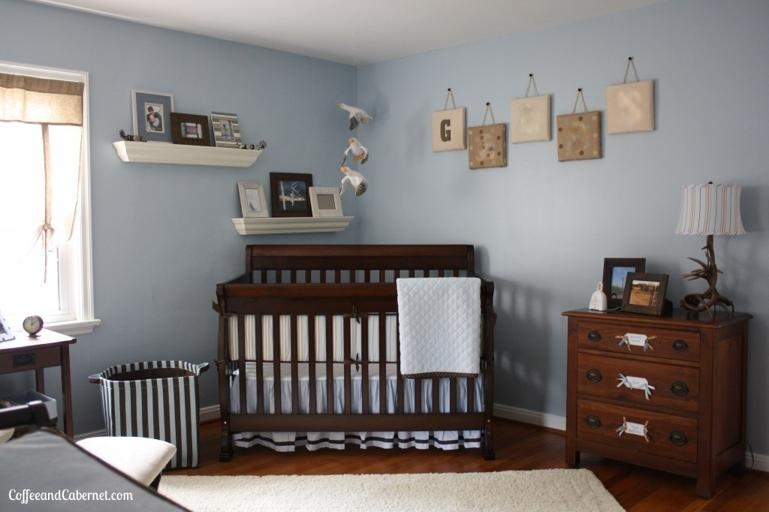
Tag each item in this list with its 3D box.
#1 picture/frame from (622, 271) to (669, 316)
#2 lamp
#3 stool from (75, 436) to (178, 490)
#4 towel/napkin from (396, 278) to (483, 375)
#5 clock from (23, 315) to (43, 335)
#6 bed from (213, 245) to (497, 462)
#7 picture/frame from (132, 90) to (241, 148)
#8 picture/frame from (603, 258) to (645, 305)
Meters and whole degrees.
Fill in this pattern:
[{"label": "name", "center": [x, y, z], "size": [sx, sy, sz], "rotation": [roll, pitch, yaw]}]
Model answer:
[{"label": "picture/frame", "center": [1.593, 0.239, 3.715], "size": [0.241, 0.280, 0.039], "rotation": [3, -12, 39]}, {"label": "lamp", "center": [1.971, -0.049, 3.691], "size": [0.347, 0.805, 0.439], "rotation": [2, 8, 30]}, {"label": "stool", "center": [-1.237, 0.992, 2.927], "size": [0.408, 0.248, 0.288], "rotation": [2, 7, 24]}, {"label": "towel/napkin", "center": [0.342, 0.431, 3.805], "size": [0.610, 0.653, 0.067], "rotation": [-1, 2, -3]}, {"label": "clock", "center": [-2.118, 0.422, 3.667], "size": [0.092, 0.113, 0.059], "rotation": [-7, 10, -15]}, {"label": "bed", "center": [-0.247, 0.683, 4.521], "size": [2.072, 1.442, 1.393], "rotation": [-1, 0, -2]}, {"label": "picture/frame", "center": [-1.420, -0.984, 4.360], "size": [0.785, 0.384, 0.098], "rotation": [-6, 8, -33]}, {"label": "picture/frame", "center": [1.540, 0.172, 3.894], "size": [0.286, 0.380, 0.030], "rotation": [-4, -13, 38]}]
